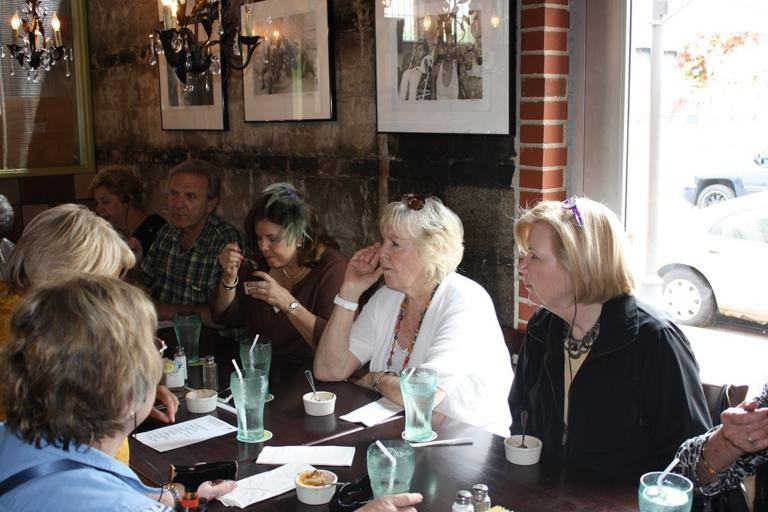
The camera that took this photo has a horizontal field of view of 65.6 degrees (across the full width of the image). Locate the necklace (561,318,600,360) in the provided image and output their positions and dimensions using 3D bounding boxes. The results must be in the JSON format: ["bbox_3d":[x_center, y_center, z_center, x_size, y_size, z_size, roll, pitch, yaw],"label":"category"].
[{"bbox_3d":[0.677,0.280,2.072,0.134,0.011,0.144,-4,47,41],"label":"necklace"}]

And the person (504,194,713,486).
[{"bbox_3d":[0.851,0.329,2.495,0.770,1.309,1.003,1,-2,-6],"label":"person"}]

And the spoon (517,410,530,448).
[{"bbox_3d":[0.447,0.559,1.914,0.035,0.134,0.076,-2,5,4],"label":"spoon"}]

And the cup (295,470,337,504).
[{"bbox_3d":[-0.184,0.634,1.639,0.113,0.070,0.074,-2,6,-8],"label":"cup"}]

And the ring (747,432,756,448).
[{"bbox_3d":[1.002,0.504,1.626,0.022,0.030,0.010,-10,2,-13],"label":"ring"}]

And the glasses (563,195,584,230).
[{"bbox_3d":[0.645,-0.152,2.031,0.058,0.094,0.036,-5,-19,1],"label":"glasses"}]

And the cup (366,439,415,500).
[{"bbox_3d":[0.019,0.573,1.600,0.139,0.164,0.146,1,-5,0],"label":"cup"}]

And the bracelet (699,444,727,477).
[{"bbox_3d":[0.933,0.579,1.693,0.060,0.073,0.021,1,5,-25],"label":"bracelet"}]

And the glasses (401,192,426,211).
[{"bbox_3d":[0.133,-0.227,2.452,0.077,0.023,0.063,-13,42,-33],"label":"glasses"}]

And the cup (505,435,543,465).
[{"bbox_3d":[0.415,0.572,1.766,0.108,0.072,0.076,-1,6,9],"label":"cup"}]

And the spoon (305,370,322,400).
[{"bbox_3d":[-0.264,0.487,2.222,0.036,0.190,0.031,-13,42,8],"label":"spoon"}]
